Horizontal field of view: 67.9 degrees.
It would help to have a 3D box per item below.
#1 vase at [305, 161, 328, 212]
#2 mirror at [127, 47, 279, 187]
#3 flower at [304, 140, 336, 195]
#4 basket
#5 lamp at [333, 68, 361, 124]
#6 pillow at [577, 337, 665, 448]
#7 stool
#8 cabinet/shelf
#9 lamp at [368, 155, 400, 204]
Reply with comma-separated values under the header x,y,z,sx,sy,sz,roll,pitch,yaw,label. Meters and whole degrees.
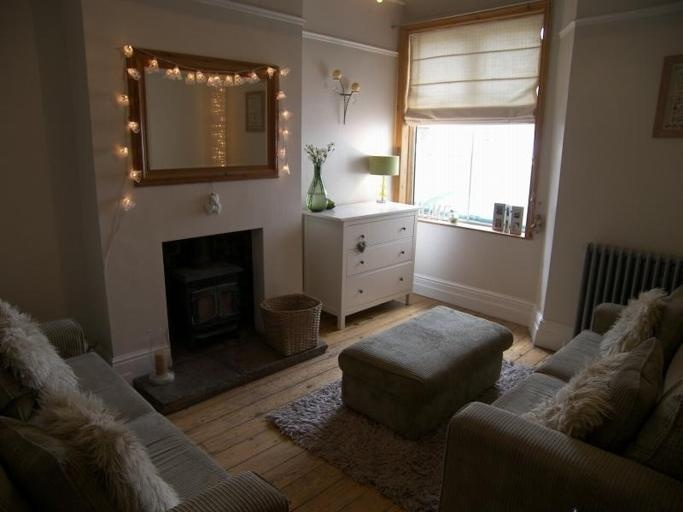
x,y,z,sx,sy,sz,roll,pitch,yaw,label
-0.213,-0.643,4.629,0.178,0.433,0.315,3,14,14,vase
-0.954,-0.959,3.662,1.111,0.862,0.021,-8,18,-34,mirror
-0.219,-0.818,4.680,0.252,0.372,0.260,14,24,22,flower
-0.381,0.526,4.046,0.482,0.383,0.394,-4,8,-43,basket
0.070,-1.479,4.771,0.151,0.476,0.419,11,18,40,lamp
1.145,0.561,2.150,0.110,0.390,0.375,27,13,16,pillow
0.599,0.654,3.350,0.613,0.473,1.037,16,25,40,stool
0.194,0.045,4.842,1.026,0.956,0.529,-10,17,-40,cabinet/shelf
0.421,-0.785,5.153,0.317,0.468,0.438,0,14,5,lamp
